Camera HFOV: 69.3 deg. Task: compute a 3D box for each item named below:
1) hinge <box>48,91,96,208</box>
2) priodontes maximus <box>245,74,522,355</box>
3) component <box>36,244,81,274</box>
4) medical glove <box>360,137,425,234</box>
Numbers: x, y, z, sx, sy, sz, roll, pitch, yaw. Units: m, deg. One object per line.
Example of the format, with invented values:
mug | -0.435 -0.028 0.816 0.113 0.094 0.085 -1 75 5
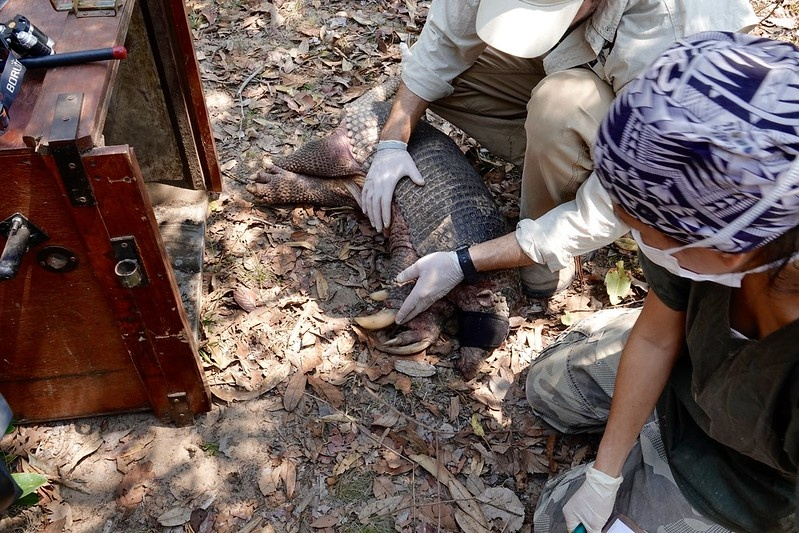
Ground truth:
hinge | -1.156 -0.411 2.043 0.110 0.285 0.272 -6 46 -18
priodontes maximus | -0.152 -0.178 3.494 1.178 0.632 1.705 -15 73 -43
component | -1.282 -0.025 2.167 0.105 0.103 0.022 13 25 -14
medical glove | -0.077 -0.471 3.395 0.355 0.475 0.138 16 1 -1
